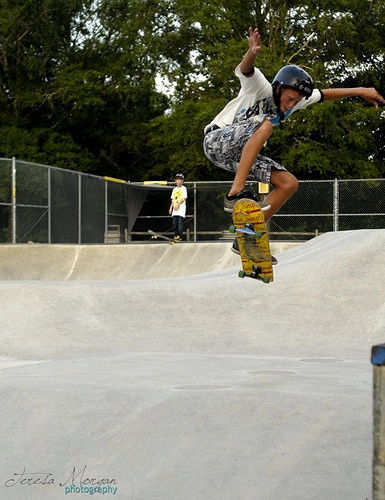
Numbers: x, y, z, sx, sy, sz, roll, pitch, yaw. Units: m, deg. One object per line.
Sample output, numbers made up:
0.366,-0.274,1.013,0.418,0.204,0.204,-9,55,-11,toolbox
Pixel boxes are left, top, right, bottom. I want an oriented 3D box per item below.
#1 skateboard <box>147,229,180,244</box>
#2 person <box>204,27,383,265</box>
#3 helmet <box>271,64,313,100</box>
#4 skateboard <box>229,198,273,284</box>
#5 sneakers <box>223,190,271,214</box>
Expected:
-0.779,-0.386,18.130,1.062,0.218,0.132,17,28,-12,skateboard
0.714,-0.836,5.369,1.022,2.015,0.969,-6,7,-21,person
0.778,-1.357,5.299,0.254,0.234,0.316,18,22,-30,helmet
0.506,-0.052,5.364,0.263,0.801,0.116,6,49,31,skateboard
0.453,-0.395,5.286,0.478,0.180,0.147,0,15,4,sneakers
